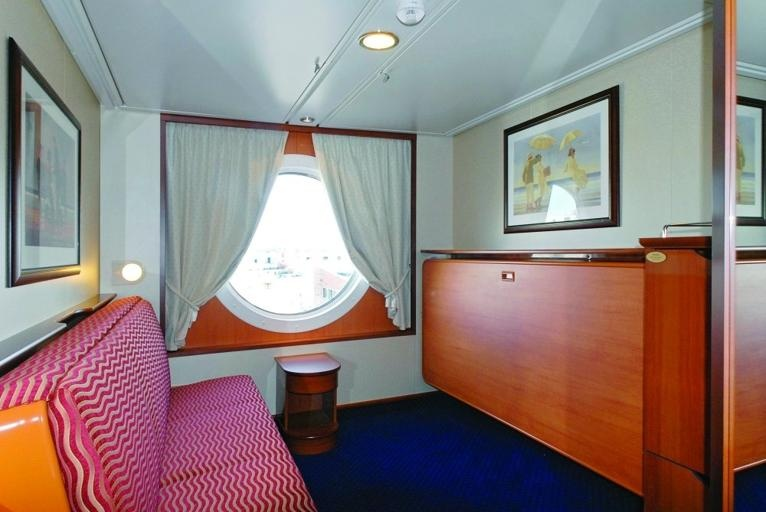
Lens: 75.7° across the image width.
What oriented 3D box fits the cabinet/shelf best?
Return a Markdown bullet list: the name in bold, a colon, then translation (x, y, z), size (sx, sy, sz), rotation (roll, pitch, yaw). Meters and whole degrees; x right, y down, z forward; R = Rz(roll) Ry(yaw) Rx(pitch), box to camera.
- **cabinet/shelf**: translation (-0.686, 1.297, 4.480), size (0.561, 0.799, 0.706), rotation (0, -3, -19)
